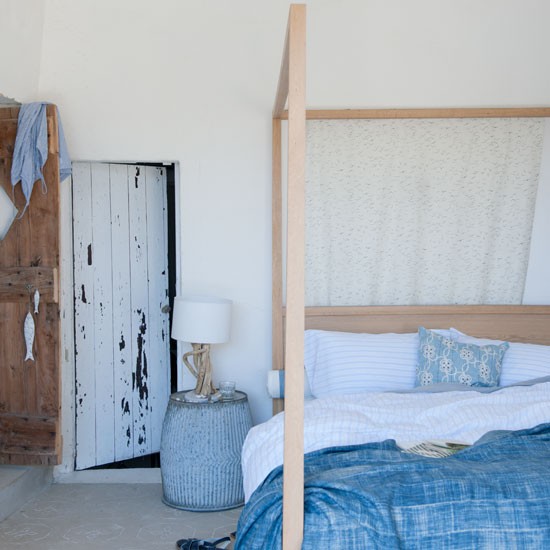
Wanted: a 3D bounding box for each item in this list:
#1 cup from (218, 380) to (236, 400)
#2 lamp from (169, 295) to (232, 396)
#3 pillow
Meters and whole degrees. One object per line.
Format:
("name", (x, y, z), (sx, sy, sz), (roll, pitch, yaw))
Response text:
("cup", (-0.257, 0.625, 3.828), (0.077, 0.061, 0.083), (1, -1, 0))
("lamp", (-0.405, 0.399, 3.841), (0.318, 0.501, 0.307), (3, -2, -12))
("pillow", (0.662, 0.486, 3.633), (1.400, 0.312, 0.460), (2, 0, 2))
